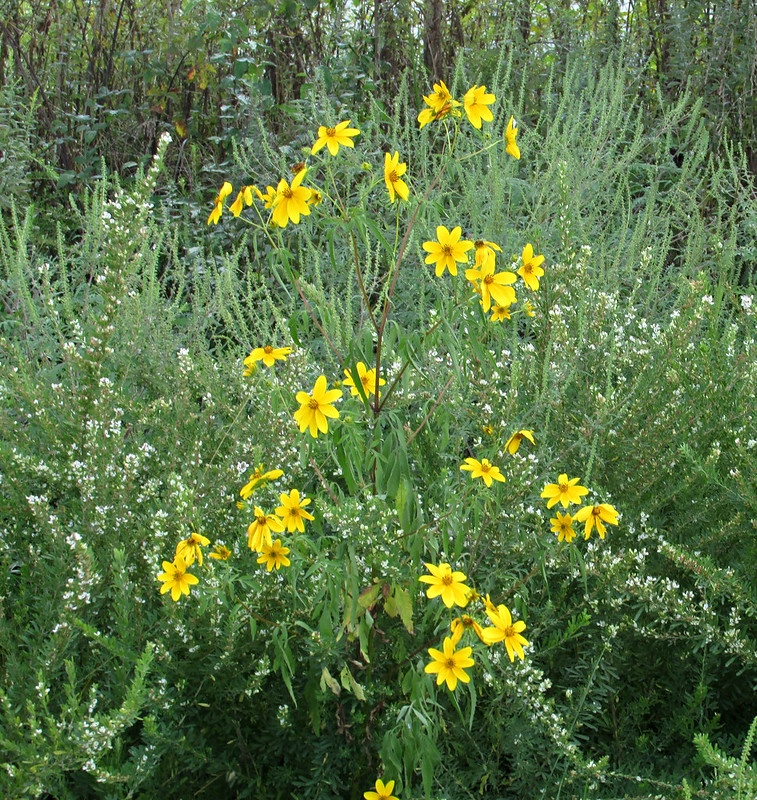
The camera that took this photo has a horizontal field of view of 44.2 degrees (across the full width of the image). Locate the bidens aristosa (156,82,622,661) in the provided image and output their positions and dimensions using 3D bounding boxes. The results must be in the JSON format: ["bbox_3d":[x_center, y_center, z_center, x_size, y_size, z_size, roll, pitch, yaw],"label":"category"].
[{"bbox_3d":[0.069,-0.089,1.994,0.931,1.119,0.683,13,19,10],"label":"bidens aristosa"}]
